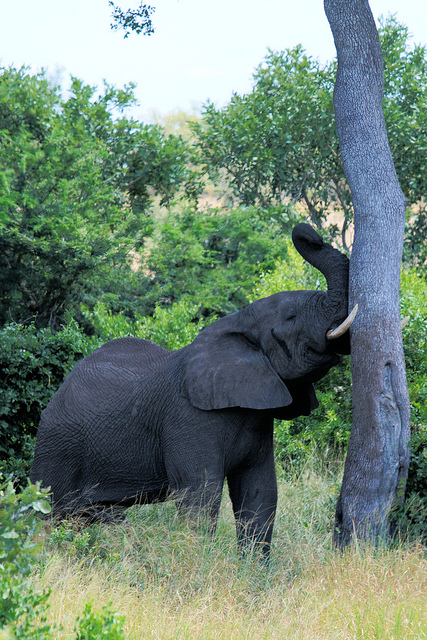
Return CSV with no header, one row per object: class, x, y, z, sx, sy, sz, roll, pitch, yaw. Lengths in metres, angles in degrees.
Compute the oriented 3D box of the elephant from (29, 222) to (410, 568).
elephant,-0.080,0.714,4.008,2.491,1.862,0.828,-20,-24,27
